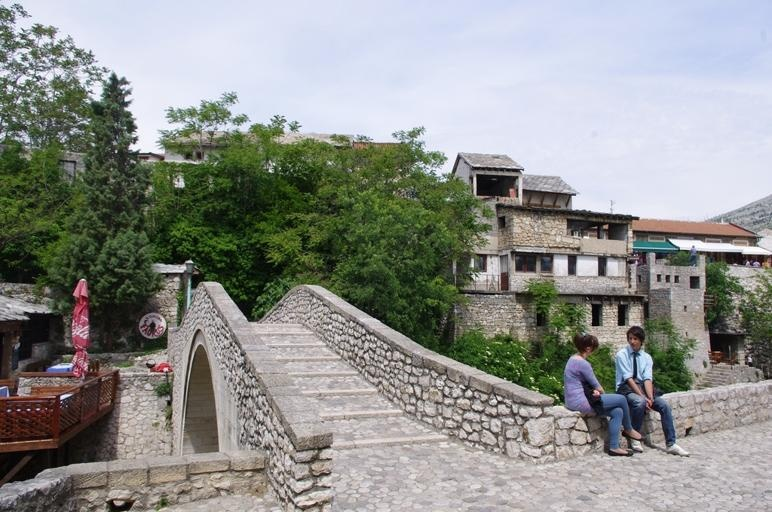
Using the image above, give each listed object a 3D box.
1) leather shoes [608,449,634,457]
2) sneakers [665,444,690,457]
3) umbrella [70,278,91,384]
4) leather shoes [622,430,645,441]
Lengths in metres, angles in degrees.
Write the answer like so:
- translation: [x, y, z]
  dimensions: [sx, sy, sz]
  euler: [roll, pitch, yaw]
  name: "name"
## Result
- translation: [5.906, 5.000, 16.917]
  dimensions: [0.611, 0.200, 0.206]
  euler: [-1, -6, 1]
  name: "leather shoes"
- translation: [7.387, 4.966, 17.107]
  dimensions: [0.640, 0.246, 0.229]
  euler: [1, 3, 23]
  name: "sneakers"
- translation: [-12.753, 3.112, 28.093]
  dimensions: [0.667, 4.184, 1.583]
  euler: [3, -5, -25]
  name: "umbrella"
- translation: [6.297, 4.621, 17.131]
  dimensions: [0.614, 0.211, 0.201]
  euler: [0, -1, 20]
  name: "leather shoes"
